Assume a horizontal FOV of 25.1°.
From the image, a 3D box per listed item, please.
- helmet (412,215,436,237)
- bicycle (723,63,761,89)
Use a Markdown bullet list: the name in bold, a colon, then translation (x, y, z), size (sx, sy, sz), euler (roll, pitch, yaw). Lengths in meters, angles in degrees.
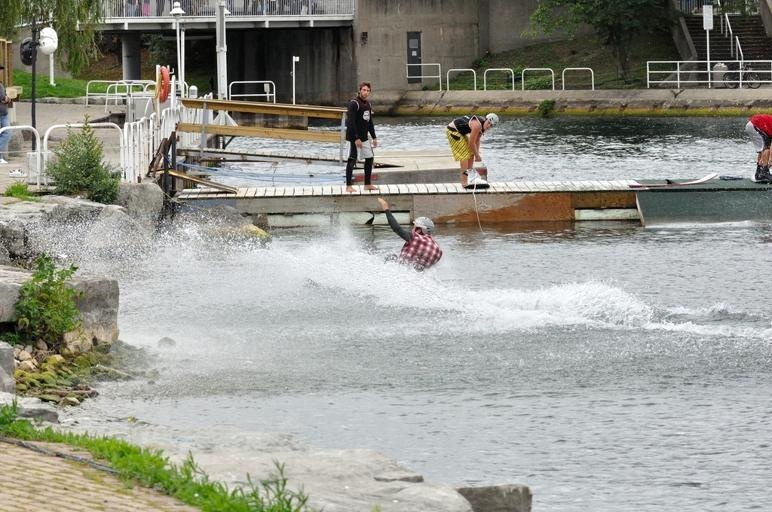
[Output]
- **helmet**: translation (0.868, -0.716, 39.214), size (0.508, 0.372, 0.363), euler (-4, 28, -4)
- **bicycle**: translation (13.917, -7.029, 68.104), size (1.746, 1.033, 0.858), euler (3, 11, 26)
